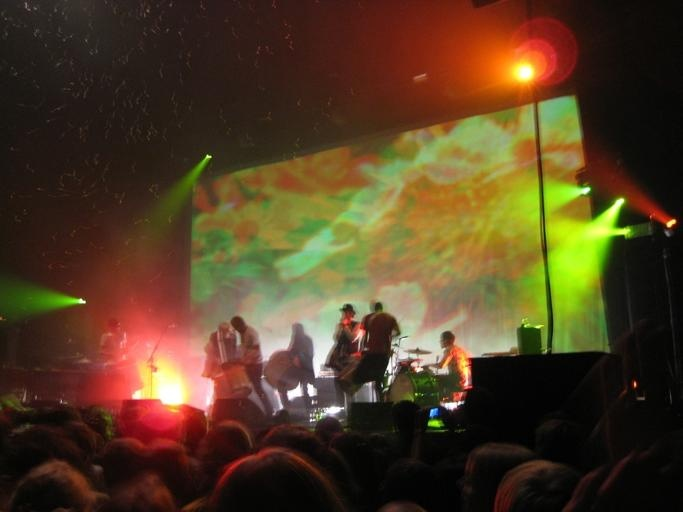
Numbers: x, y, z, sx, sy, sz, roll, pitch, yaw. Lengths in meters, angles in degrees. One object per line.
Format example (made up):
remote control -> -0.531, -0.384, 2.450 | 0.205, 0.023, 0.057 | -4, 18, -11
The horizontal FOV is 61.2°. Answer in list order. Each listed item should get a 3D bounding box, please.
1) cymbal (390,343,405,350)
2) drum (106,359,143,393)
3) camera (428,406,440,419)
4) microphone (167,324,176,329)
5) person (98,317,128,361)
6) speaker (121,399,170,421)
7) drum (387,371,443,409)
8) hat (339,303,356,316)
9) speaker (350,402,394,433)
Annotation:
cymbal -> 0.969, 1.583, 10.178 | 0.184, 0.104, 0.210 | 0, 6, -23
drum -> -3.791, 2.130, 10.124 | 0.234, 0.698, 0.826 | -3, -18, 17
camera -> 0.861, 1.464, 5.381 | 0.124, 0.128, 0.029 | 4, 11, -39
microphone -> -3.355, 1.392, 11.490 | 0.088, 0.093, 0.036 | 1, 7, -26
person -> -4.185, 1.557, 10.565 | 0.436, 0.781, 0.209 | -2, -33, -14
speaker -> -2.202, 1.673, 6.291 | 0.286, 0.109, 0.303 | 4, 5, -1
drum -> 1.095, 2.052, 8.614 | 0.415, 0.633, 0.597 | 3, -10, -27
hat -> 0.111, 0.923, 10.111 | 0.215, 0.181, 0.162 | -1, -4, 31
speaker -> 0.363, 1.889, 6.709 | 0.460, 0.331, 0.267 | 0, -15, 3
